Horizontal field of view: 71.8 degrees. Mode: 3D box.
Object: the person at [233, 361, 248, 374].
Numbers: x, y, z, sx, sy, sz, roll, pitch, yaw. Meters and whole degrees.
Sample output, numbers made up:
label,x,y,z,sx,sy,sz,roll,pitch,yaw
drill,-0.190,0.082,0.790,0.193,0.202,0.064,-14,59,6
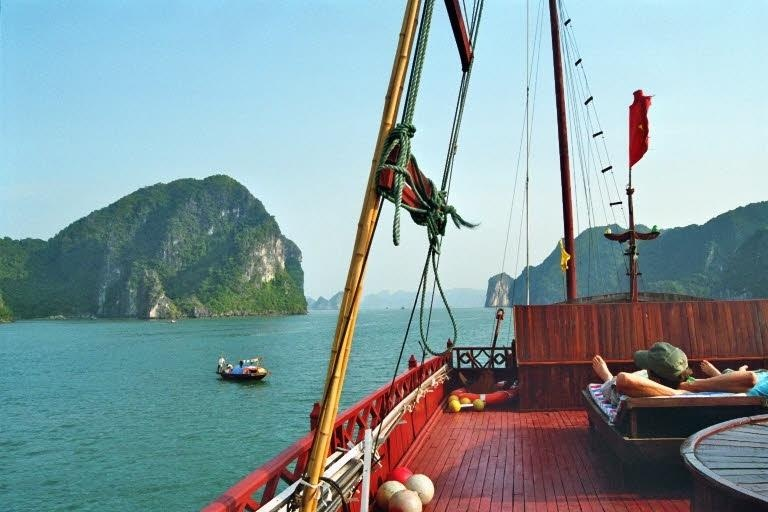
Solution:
label,x,y,z,sx,sy,sz,roll,pitch,yaw
person,-10.069,7.967,37.169,0.934,0.966,0.987,6,-12,4
